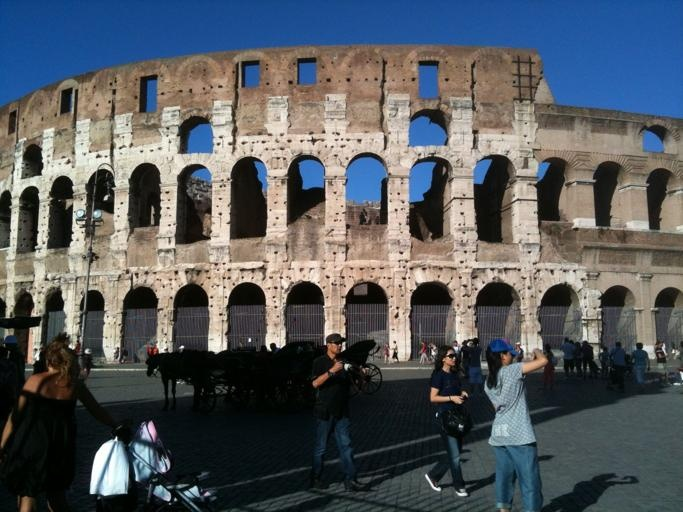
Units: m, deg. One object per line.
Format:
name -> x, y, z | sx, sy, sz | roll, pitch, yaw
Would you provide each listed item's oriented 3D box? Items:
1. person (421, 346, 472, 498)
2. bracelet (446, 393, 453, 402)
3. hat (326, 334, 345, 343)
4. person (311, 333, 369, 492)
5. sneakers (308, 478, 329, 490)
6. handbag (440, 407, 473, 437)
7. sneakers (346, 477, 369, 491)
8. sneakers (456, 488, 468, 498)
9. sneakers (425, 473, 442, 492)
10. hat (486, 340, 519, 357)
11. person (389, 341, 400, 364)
person -> 1.652, 2.544, 10.605 | 0.682, 2.240, 0.952 | -2, -11, 6
bracelet -> 1.637, 2.137, 10.318 | 0.105, 0.110, 0.042 | -2, 1, 20
hat -> -0.141, 1.317, 10.986 | 0.169, 0.134, 0.222 | 6, -24, -34
person -> -0.108, 2.414, 10.692 | 0.760, 2.412, 0.305 | 0, -11, -4
sneakers -> -0.359, 3.492, 10.533 | 0.320, 0.234, 0.132 | -2, 3, -8
handbag -> 1.719, 2.484, 10.251 | 0.469, 0.453, 0.252 | -3, -12, 7
sneakers -> 0.260, 3.512, 10.485 | 0.406, 0.194, 0.171 | 3, -12, -18
sneakers -> 1.817, 3.540, 10.189 | 0.085, 0.098, 0.237 | 1, -18, -6
sneakers -> 1.405, 3.417, 10.516 | 0.150, 0.145, 0.400 | -10, 26, 3
hat -> 2.319, 1.321, 9.731 | 0.363, 0.223, 0.256 | -3, 0, -6
person -> 2.117, 3.819, 27.386 | 0.236, 0.830, 0.476 | 7, -14, -33
